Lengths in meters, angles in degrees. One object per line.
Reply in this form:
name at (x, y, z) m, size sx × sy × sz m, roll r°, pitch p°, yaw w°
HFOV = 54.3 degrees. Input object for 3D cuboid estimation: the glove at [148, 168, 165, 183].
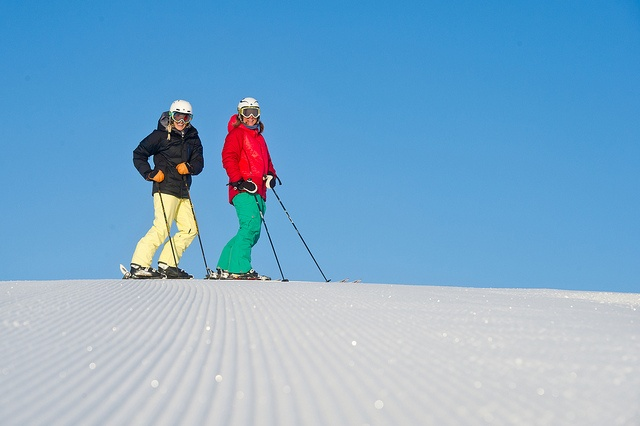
glove at (-2.460, -0.549, 9.411) m, size 0.243 × 0.178 × 0.211 m, roll -3°, pitch 11°, yaw -26°

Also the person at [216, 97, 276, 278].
person at (-1.146, -0.412, 9.752) m, size 0.802 × 2.694 × 1.134 m, roll 2°, pitch 9°, yaw 4°

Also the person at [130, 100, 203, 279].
person at (-2.329, -0.390, 9.457) m, size 0.859 × 2.595 × 1.369 m, roll 5°, pitch 10°, yaw 23°

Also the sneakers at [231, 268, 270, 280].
sneakers at (-1.100, 0.953, 9.504) m, size 0.575 × 0.113 × 0.254 m, roll 5°, pitch 11°, yaw 12°

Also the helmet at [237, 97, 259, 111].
helmet at (-1.104, -1.658, 9.610) m, size 0.285 × 0.196 × 0.434 m, roll 1°, pitch 10°, yaw -6°

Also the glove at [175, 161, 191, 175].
glove at (-2.072, -0.663, 9.507) m, size 0.204 × 0.188 × 0.179 m, roll -3°, pitch 11°, yaw -26°
